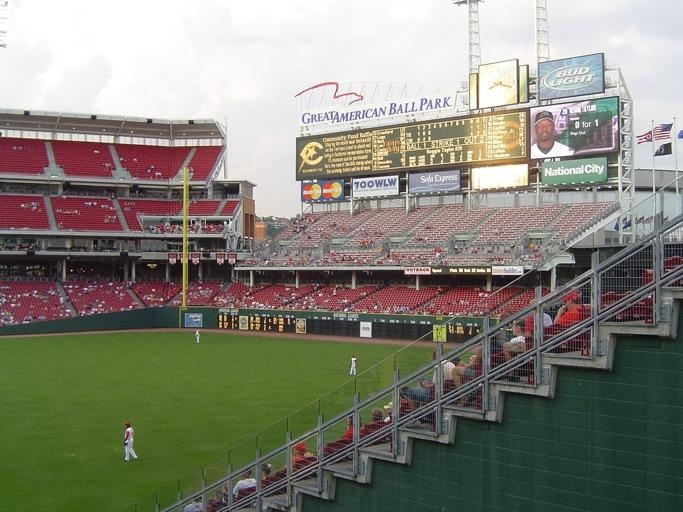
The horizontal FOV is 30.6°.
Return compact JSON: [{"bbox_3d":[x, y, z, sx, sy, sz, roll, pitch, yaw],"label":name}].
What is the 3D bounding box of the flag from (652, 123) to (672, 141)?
[{"bbox_3d":[19.528,-7.410,75.136,1.124,0.918,0.560,-4,4,23],"label":"flag"}]
